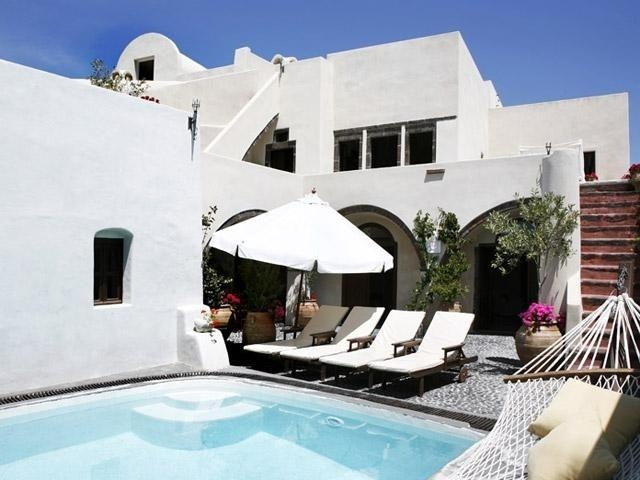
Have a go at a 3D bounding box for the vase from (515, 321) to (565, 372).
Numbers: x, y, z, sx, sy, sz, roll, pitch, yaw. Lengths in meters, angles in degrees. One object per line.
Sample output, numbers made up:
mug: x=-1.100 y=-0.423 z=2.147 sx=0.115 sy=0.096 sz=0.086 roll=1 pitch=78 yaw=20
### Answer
vase: x=4.635 y=2.324 z=11.709 sx=0.931 sy=1.300 sz=1.017 roll=-1 pitch=-4 yaw=12

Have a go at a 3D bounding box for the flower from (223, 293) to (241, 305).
flower: x=-2.439 y=1.675 z=15.414 sx=0.298 sy=0.357 sz=0.326 roll=15 pitch=-13 yaw=2

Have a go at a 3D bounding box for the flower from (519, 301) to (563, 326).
flower: x=4.601 y=1.590 z=11.707 sx=0.525 sy=0.425 sz=0.589 roll=-1 pitch=-3 yaw=5
